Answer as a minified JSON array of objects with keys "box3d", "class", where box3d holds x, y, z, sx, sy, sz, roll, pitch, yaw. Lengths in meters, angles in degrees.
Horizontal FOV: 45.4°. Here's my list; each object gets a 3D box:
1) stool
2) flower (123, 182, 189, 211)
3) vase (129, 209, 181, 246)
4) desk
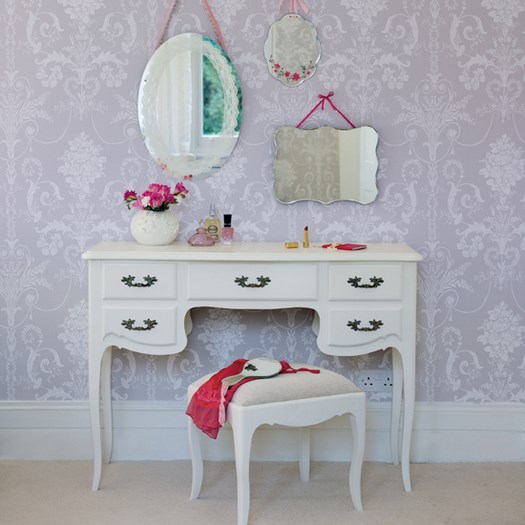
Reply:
[{"box3d":[0.050,0.704,2.513,0.630,0.557,0.466,-1,2,-25],"class":"stool"},{"box3d":[-0.462,-0.292,2.752,0.274,0.148,0.267,0,2,-6],"class":"flower"},{"box3d":[-0.447,-0.148,2.644,0.149,0.118,0.167,-1,3,-25],"class":"vase"},{"box3d":[-0.033,0.429,2.643,0.968,0.794,0.345,0,3,-2],"class":"desk"}]
